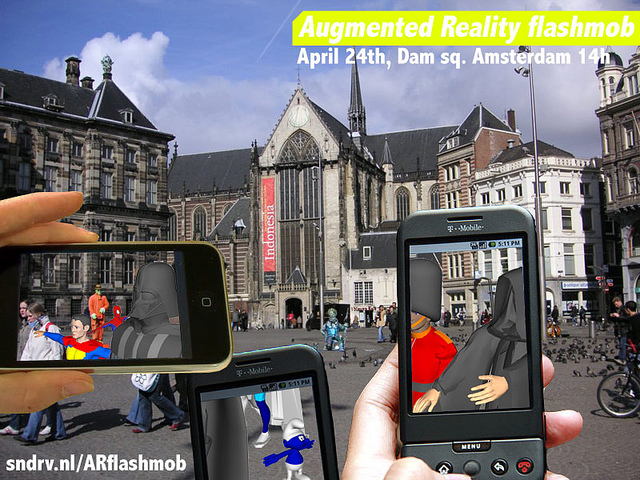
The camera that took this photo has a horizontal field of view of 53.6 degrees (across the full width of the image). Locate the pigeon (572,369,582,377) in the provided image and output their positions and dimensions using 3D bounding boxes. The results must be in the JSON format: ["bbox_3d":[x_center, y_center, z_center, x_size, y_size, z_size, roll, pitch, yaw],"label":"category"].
[{"bbox_3d":[6.165,3.183,15.131,0.206,0.199,0.384,2,-28,13],"label":"pigeon"}]

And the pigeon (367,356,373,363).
[{"bbox_3d":[1.539,3.708,19.507,0.119,0.180,0.174,-2,-11,7],"label":"pigeon"}]

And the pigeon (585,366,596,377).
[{"bbox_3d":[6.659,3.242,15.550,0.234,0.267,0.369,-21,-29,14],"label":"pigeon"}]

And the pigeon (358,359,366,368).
[{"bbox_3d":[1.198,3.522,17.932,0.183,0.196,0.145,1,-1,5],"label":"pigeon"}]
